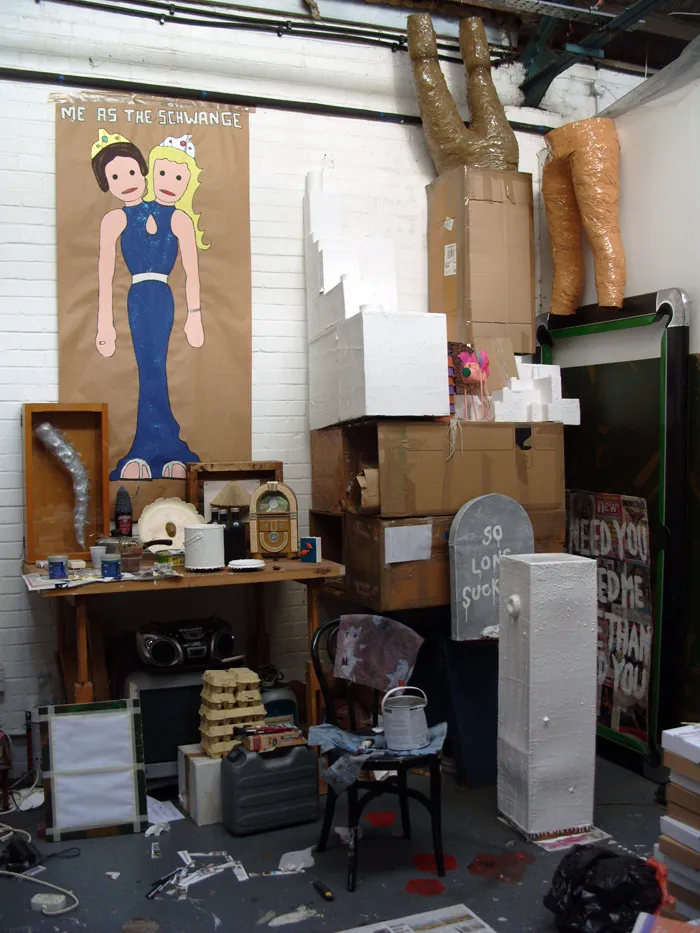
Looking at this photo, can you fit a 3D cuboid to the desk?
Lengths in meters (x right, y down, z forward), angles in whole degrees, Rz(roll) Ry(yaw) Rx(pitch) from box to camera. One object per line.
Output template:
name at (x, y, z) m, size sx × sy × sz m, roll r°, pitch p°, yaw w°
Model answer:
desk at (-0.618, 0.846, 3.691) m, size 1.335 × 0.766 × 0.776 m, roll -3°, pitch -9°, yaw -4°

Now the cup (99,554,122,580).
cup at (-0.910, 0.385, 3.203) m, size 0.088 × 0.093 × 0.087 m, roll 0°, pitch -2°, yaw 0°

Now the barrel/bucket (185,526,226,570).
barrel/bucket at (-0.591, 0.325, 3.418) m, size 0.173 × 0.173 × 0.173 m, roll 0°, pitch 0°, yaw 0°

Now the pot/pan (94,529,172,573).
pot/pan at (-0.895, 0.346, 3.490) m, size 0.235 × 0.093 × 0.177 m, roll 2°, pitch -3°, yaw -31°

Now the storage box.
storage box at (0.407, -0.422, 4.074) m, size 1.092 × 2.221 × 0.757 m, roll 0°, pitch -1°, yaw -23°

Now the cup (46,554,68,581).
cup at (-1.092, 0.388, 3.176) m, size 0.079 × 0.083 × 0.079 m, roll 0°, pitch -3°, yaw 0°

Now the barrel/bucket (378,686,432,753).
barrel/bucket at (0.190, 0.854, 2.884) m, size 0.157 × 0.192 × 0.250 m, roll -1°, pitch -1°, yaw 6°
